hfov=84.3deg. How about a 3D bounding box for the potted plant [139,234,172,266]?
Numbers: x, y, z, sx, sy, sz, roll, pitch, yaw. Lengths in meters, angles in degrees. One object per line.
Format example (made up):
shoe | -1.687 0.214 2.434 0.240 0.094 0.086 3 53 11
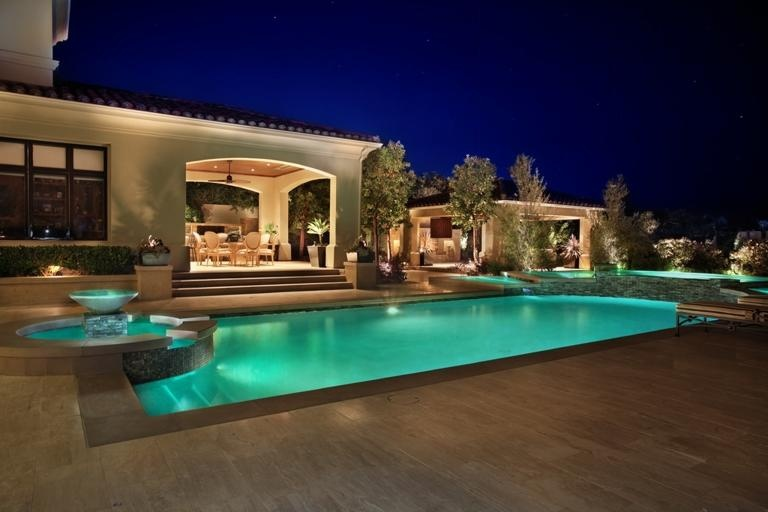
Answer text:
potted plant | -6.077 -0.135 11.084 0.840 0.825 0.858 -3 -5 41

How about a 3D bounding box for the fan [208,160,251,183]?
fan | -6.355 -3.480 17.079 0.989 0.620 0.979 -1 -6 -8

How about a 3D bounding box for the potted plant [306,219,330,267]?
potted plant | -2.297 -0.551 15.172 0.901 1.552 0.737 1 3 19

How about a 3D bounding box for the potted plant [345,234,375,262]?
potted plant | -0.712 -0.252 13.891 0.772 0.772 0.773 -3 -2 33

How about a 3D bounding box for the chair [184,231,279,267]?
chair | -5.575 -0.372 15.816 3.067 1.453 3.321 -2 10 -25

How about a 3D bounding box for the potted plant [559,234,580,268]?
potted plant | 10.761 -0.366 23.494 1.193 1.635 1.292 9 -3 44
